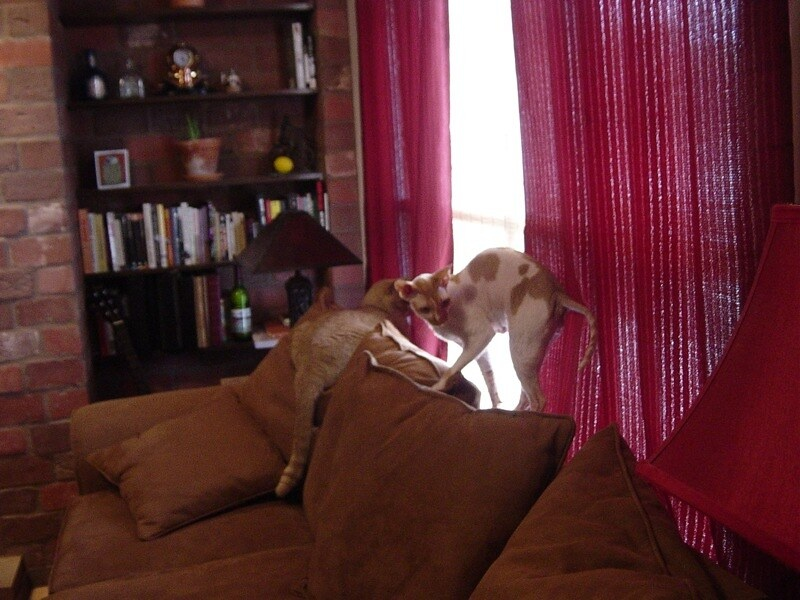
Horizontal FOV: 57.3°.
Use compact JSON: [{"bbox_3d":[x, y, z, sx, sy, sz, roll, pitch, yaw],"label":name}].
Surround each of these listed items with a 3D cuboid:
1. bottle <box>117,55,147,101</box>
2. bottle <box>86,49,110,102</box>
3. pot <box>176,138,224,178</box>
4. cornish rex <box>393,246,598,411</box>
[{"bbox_3d":[-1.071,-0.897,2.959,0.106,0.181,0.224,-7,13,-19],"label":"bottle"},{"bbox_3d":[-1.189,-0.885,2.895,0.073,0.189,0.088,-4,12,-8],"label":"bottle"},{"bbox_3d":[-0.792,-0.575,2.974,0.158,0.133,0.155,-2,4,0],"label":"pot"},{"bbox_3d":[0.226,0.069,1.843,0.522,0.396,0.173,1,6,27],"label":"cornish rex"}]
